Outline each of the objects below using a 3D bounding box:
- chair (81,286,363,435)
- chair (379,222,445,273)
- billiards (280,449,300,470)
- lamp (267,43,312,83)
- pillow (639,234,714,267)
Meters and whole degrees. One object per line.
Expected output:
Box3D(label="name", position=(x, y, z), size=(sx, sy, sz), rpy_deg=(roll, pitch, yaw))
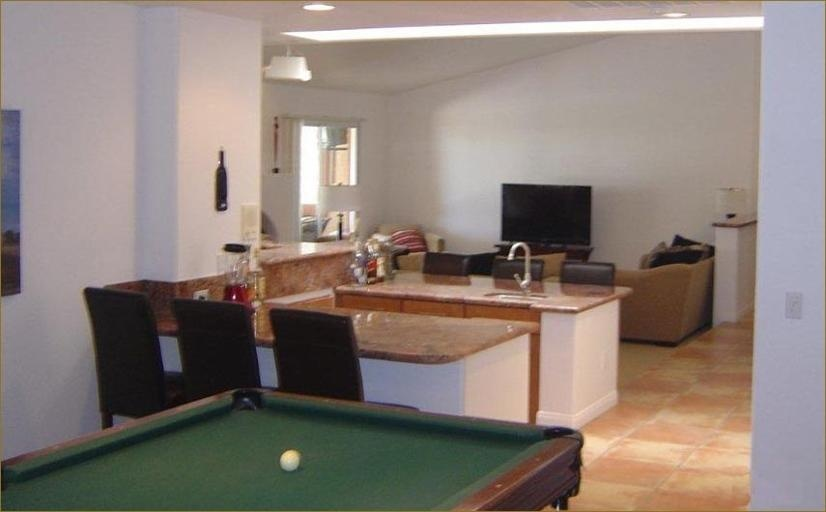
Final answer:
Box3D(label="chair", position=(-1.201, 0.568, 3.999), size=(1.464, 1.164, 1.049), rpy_deg=(2, 4, 30))
Box3D(label="chair", position=(-0.060, -0.056, 11.508), size=(0.994, 1.026, 1.008), rpy_deg=(10, 19, -17))
Box3D(label="billiards", position=(-0.497, 0.803, 2.434), size=(0.087, 0.065, 0.088), rpy_deg=(-1, 10, -12))
Box3D(label="lamp", position=(-1.303, -1.920, 6.228), size=(0.366, 0.233, 0.389), rpy_deg=(-4, 11, -26))
Box3D(label="pillow", position=(3.731, -0.037, 8.535), size=(0.752, 0.197, 0.741), rpy_deg=(-7, 14, 38))
